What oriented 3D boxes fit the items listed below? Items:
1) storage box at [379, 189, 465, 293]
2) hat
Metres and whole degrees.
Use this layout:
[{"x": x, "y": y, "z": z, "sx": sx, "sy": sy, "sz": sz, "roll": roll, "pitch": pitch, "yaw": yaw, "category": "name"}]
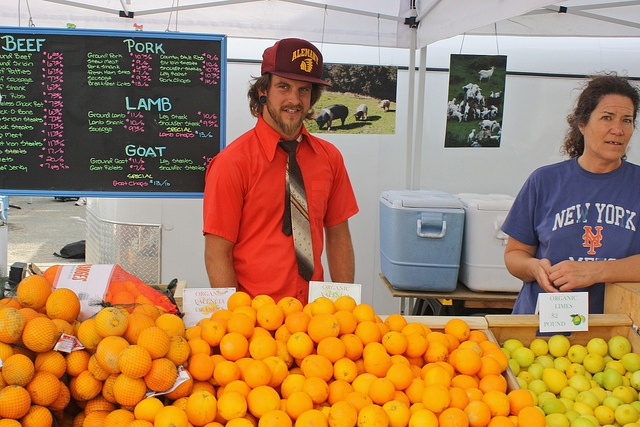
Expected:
[{"x": 0.835, "y": 0.218, "z": 4.456, "sx": 0.642, "sy": 0.722, "sz": 0.953, "roll": 3, "pitch": 5, "yaw": -1, "category": "storage box"}, {"x": -0.125, "y": -0.839, "z": 2.917, "sx": 0.254, "sy": 0.176, "sz": 0.331, "roll": -2, "pitch": 17, "yaw": -38, "category": "hat"}]
